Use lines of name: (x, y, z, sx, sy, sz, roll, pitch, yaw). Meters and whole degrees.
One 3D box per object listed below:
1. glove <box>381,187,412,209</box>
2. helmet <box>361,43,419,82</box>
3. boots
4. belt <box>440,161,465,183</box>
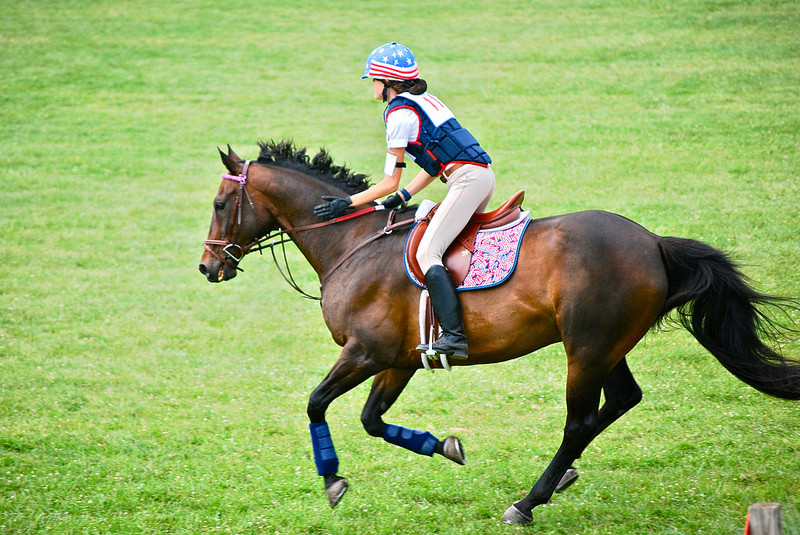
glove: (-0.024, -0.874, 15.660, 0.381, 0.149, 0.245, -17, -7, 12)
helmet: (-0.175, -2.555, 15.500, 0.761, 0.315, 0.455, 3, 19, 8)
boots: (0.559, 0.521, 15.071, 0.446, 1.082, 0.456, -3, 20, 0)
belt: (0.621, -1.179, 15.338, 0.250, 0.100, 0.294, -16, -10, -37)
